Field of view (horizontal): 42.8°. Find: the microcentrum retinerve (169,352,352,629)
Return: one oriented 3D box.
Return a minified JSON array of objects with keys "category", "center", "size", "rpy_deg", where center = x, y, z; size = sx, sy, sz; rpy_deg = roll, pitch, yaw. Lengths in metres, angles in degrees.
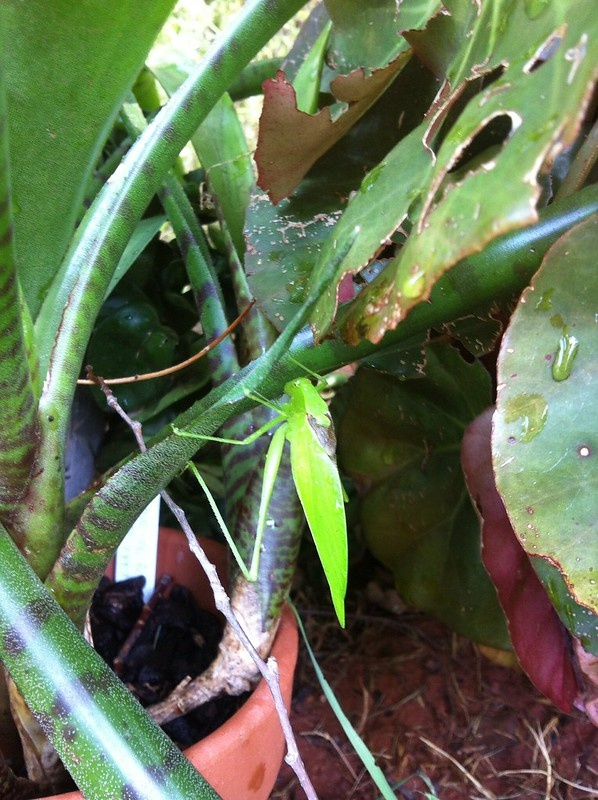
[{"category":"microcentrum retinerve","center":[-0.021,0.053,0.432],"size":[0.049,0.139,0.109],"rpy_deg":[-20,-11,36]}]
